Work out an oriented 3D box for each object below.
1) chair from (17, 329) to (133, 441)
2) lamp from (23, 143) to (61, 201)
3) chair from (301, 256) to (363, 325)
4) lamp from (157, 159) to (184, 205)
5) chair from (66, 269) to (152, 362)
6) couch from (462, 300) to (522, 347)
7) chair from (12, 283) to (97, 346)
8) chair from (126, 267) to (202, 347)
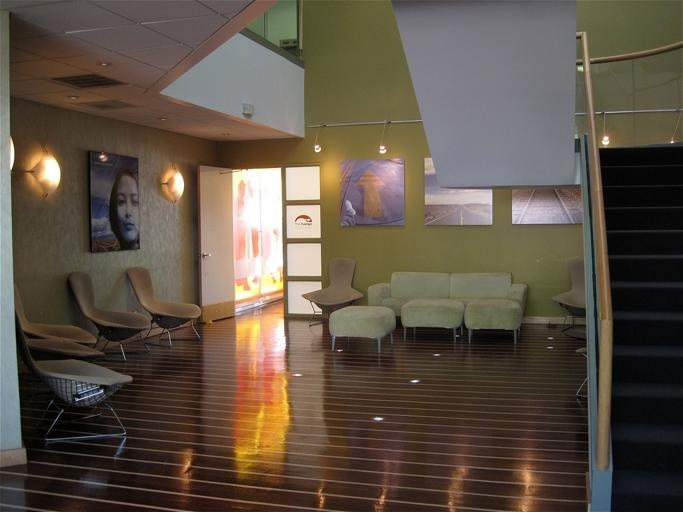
[{"bbox_3d":[-2.509,1.256,5.200,0.918,0.859,0.864,-13,-14,32],"label":"chair"},{"bbox_3d":[-3.836,-1.078,7.041,0.275,0.655,0.358,1,6,18],"label":"lamp"},{"bbox_3d":[-0.159,0.607,9.889,1.070,0.996,1.085,2,11,14],"label":"chair"},{"bbox_3d":[-2.823,-1.210,9.337,0.376,0.580,0.483,0,-6,2],"label":"lamp"},{"bbox_3d":[-3.158,0.807,7.501,1.035,0.937,0.877,3,4,-2],"label":"chair"},{"bbox_3d":[2.371,1.077,8.756,1.012,0.655,1.020,-1,-5,13],"label":"couch"},{"bbox_3d":[-3.418,0.725,6.505,0.924,0.796,0.710,1,8,-17],"label":"chair"},{"bbox_3d":[-2.708,0.727,8.366,1.128,1.042,0.912,3,3,15],"label":"chair"}]
